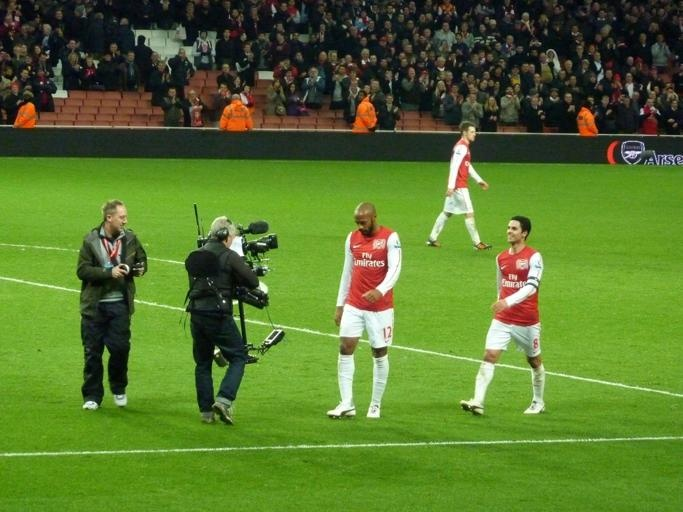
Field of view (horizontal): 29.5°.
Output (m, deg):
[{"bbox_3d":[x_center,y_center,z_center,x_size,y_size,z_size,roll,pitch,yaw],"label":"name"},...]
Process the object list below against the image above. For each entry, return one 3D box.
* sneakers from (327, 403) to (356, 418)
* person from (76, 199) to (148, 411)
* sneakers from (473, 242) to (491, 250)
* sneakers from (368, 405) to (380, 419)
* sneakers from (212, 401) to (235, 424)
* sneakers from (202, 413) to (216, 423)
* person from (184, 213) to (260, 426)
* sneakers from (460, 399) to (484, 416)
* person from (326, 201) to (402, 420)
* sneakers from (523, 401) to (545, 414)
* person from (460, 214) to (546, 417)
[{"bbox_3d":[0.003,2.226,18.511,0.449,0.242,0.165,1,3,-5],"label":"sneakers"},{"bbox_3d":[-3.276,0.699,18.426,0.926,2.977,0.577,-3,14,-13],"label":"person"},{"bbox_3d":[3.041,-0.220,27.831,0.396,0.199,0.146,-2,19,2],"label":"sneakers"},{"bbox_3d":[0.471,2.236,18.451,0.146,0.154,0.339,0,-7,1],"label":"sneakers"},{"bbox_3d":[-1.631,2.171,17.992,0.165,0.206,0.431,0,-39,32],"label":"sneakers"},{"bbox_3d":[-1.866,2.272,18.093,0.104,0.145,0.209,0,-4,0],"label":"sneakers"},{"bbox_3d":[-1.702,0.922,18.071,0.885,2.795,1.006,-4,15,-18],"label":"person"},{"bbox_3d":[1.894,2.173,18.627,0.329,0.250,0.268,3,14,8],"label":"sneakers"},{"bbox_3d":[0.349,0.788,18.477,0.952,3.063,0.905,1,14,2],"label":"person"},{"bbox_3d":[2.811,2.195,18.804,0.299,0.138,0.148,-8,11,-36],"label":"sneakers"},{"bbox_3d":[2.468,0.865,18.825,1.132,2.818,1.436,3,14,8],"label":"person"}]
